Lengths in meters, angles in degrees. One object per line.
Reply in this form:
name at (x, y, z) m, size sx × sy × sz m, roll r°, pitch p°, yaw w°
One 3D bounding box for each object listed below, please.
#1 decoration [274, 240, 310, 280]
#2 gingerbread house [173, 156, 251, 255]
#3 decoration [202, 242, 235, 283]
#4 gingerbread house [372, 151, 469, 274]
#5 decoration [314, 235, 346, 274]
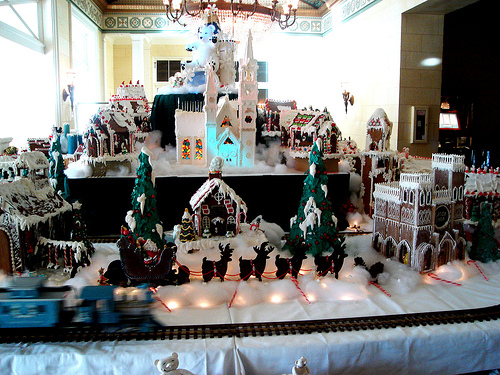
decoration at (0.610, 1.110, 5.804) m, size 0.453 × 0.621 × 0.272 m, roll 1°, pitch -25°, yaw 7°
gingerbread house at (-0.649, 0.240, 6.627) m, size 1.333 × 1.535 × 1.154 m, roll -3°, pitch 7°, yaw -26°
decoration at (-0.473, 1.121, 5.622) m, size 0.403 × 0.623 × 0.261 m, roll 1°, pitch 4°, yaw -9°
gingerbread house at (2.833, 0.319, 6.884) m, size 1.402 × 2.093 × 1.687 m, roll -4°, pitch 6°, yaw -32°
decoration at (1.197, 1.081, 5.834) m, size 0.488 × 0.712 × 0.309 m, roll -2°, pitch 1°, yaw 3°
